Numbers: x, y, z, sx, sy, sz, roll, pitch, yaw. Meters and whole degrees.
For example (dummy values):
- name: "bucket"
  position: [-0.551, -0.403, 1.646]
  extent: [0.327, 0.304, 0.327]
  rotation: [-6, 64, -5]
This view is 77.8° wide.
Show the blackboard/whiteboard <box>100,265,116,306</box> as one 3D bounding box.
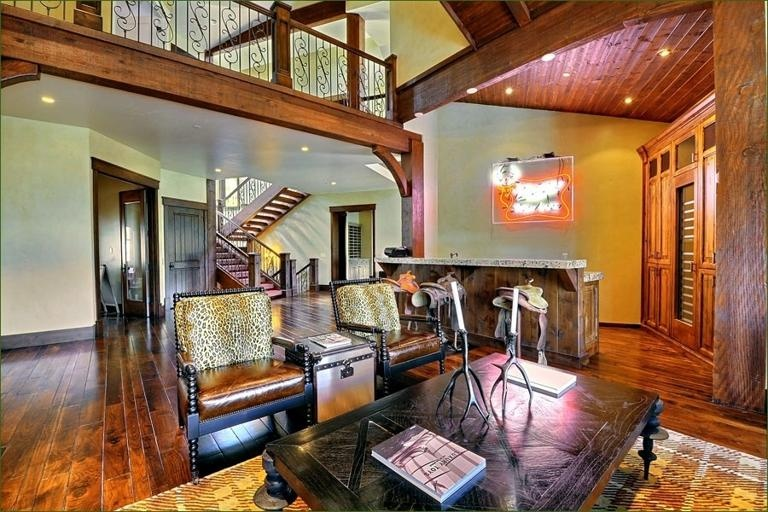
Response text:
- name: "blackboard/whiteboard"
  position: [-5.412, 0.572, 9.348]
  extent: [0.386, 0.913, 0.122]
  rotation: [-3, 2, 17]

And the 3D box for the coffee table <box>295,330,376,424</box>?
- name: "coffee table"
  position: [-0.450, 1.209, 5.240]
  extent: [0.832, 0.796, 0.808]
  rotation: [-3, 5, -36]

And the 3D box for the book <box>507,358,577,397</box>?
- name: "book"
  position: [1.580, 1.199, 4.651]
  extent: [0.422, 0.089, 0.447]
  rotation: [-1, 4, -41]

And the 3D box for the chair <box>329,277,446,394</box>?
- name: "chair"
  position: [0.010, 0.887, 5.781]
  extent: [1.288, 1.187, 1.094]
  rotation: [3, 7, 41]

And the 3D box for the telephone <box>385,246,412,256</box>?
- name: "telephone"
  position: [0.238, -0.071, 8.157]
  extent: [0.329, 0.118, 0.194]
  rotation: [0, 0, 6]
